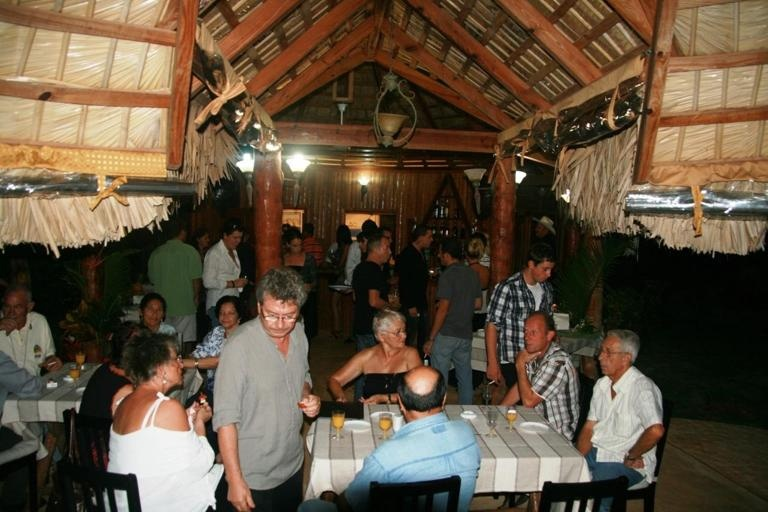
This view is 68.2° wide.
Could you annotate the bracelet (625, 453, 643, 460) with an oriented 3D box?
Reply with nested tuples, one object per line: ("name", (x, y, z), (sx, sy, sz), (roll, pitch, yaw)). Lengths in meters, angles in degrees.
("bracelet", (2.058, 1.653, 4.656), (0.080, 0.030, 0.062), (0, -2, 8))

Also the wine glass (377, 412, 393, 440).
("wine glass", (0.030, 1.363, 4.559), (0.162, 0.250, 0.160), (0, 3, 1))

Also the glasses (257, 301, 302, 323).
("glasses", (-0.751, 0.387, 4.015), (0.273, 0.164, 0.151), (3, 5, -8))

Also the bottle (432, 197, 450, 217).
("bottle", (1.438, -1.201, 14.184), (0.378, 0.483, 0.161), (4, 4, 3))

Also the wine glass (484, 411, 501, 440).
("wine glass", (0.938, 1.417, 4.766), (0.146, 0.238, 0.151), (1, -5, -32))
